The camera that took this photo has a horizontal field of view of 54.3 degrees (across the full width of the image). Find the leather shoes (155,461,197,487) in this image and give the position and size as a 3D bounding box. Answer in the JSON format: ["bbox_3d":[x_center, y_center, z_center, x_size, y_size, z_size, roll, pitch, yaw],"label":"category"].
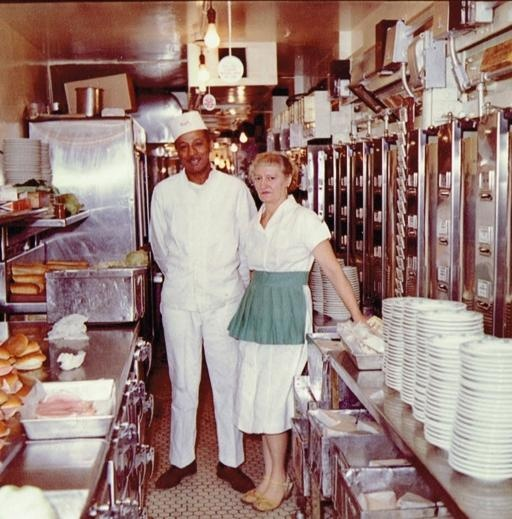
[{"bbox_3d":[-0.497,1.303,3.084,0.089,0.130,0.243,-2,2,44],"label":"leather shoes"}]

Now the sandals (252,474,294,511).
[{"bbox_3d":[0.091,1.284,2.750,0.106,0.112,0.238,-6,-15,36],"label":"sandals"}]

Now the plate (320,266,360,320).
[{"bbox_3d":[0.600,0.236,3.822,0.329,0.548,0.345,-1,0,-3],"label":"plate"}]

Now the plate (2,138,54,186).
[{"bbox_3d":[-1.854,-0.806,4.121,0.294,0.387,0.534,2,4,13],"label":"plate"}]

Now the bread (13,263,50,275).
[{"bbox_3d":[-1.578,0.065,3.440,0.139,0.047,0.159,-2,3,-9],"label":"bread"}]

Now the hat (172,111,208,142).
[{"bbox_3d":[-0.394,-0.780,2.955,0.161,0.126,0.176,-17,2,-6],"label":"hat"}]

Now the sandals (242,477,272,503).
[{"bbox_3d":[-0.004,1.304,2.804,0.077,0.060,0.205,-6,3,29],"label":"sandals"}]

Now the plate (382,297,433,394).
[{"bbox_3d":[0.446,0.272,1.677,0.210,0.287,0.242,1,4,3],"label":"plate"}]

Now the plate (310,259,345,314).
[{"bbox_3d":[0.531,0.218,3.894,0.293,0.491,0.297,-1,2,0],"label":"plate"}]

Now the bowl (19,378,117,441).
[{"bbox_3d":[-0.511,0.420,1.365,0.151,0.055,0.166,-1,8,6],"label":"bowl"}]
